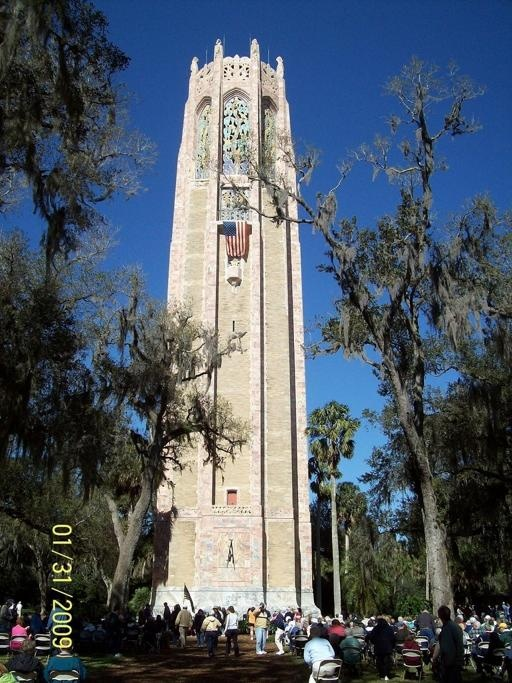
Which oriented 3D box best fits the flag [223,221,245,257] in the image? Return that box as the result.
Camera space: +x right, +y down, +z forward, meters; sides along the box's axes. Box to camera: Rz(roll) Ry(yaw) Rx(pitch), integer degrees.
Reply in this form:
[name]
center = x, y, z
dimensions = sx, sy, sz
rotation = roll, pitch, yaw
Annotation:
[flag]
center = -1.458, -6.904, 35.735
dimensions = 1.934, 3.702, 0.362
rotation = 3, -24, -7
